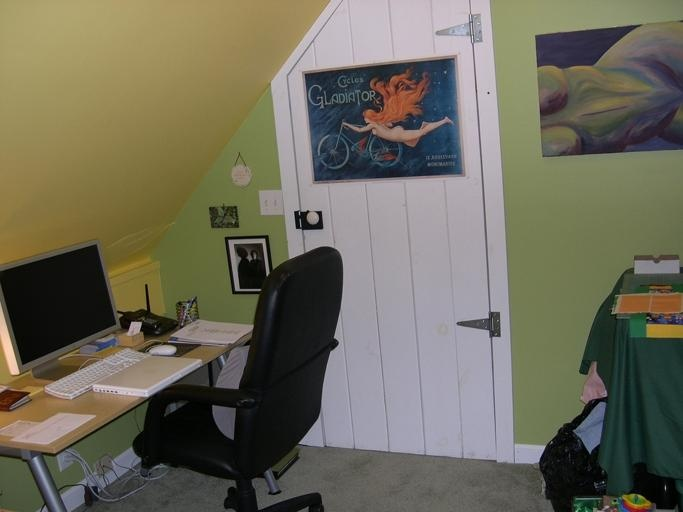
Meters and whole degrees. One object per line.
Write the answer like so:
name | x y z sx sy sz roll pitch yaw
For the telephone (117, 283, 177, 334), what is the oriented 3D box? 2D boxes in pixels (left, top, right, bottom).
telephone | -1.033 0.259 2.919 0.299 0.264 0.229 15 18 26

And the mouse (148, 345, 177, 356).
mouse | -0.861 0.450 2.640 0.082 0.024 0.062 3 9 11

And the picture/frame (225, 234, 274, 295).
picture/frame | -0.514 0.030 3.073 0.319 0.409 0.018 1 12 16
